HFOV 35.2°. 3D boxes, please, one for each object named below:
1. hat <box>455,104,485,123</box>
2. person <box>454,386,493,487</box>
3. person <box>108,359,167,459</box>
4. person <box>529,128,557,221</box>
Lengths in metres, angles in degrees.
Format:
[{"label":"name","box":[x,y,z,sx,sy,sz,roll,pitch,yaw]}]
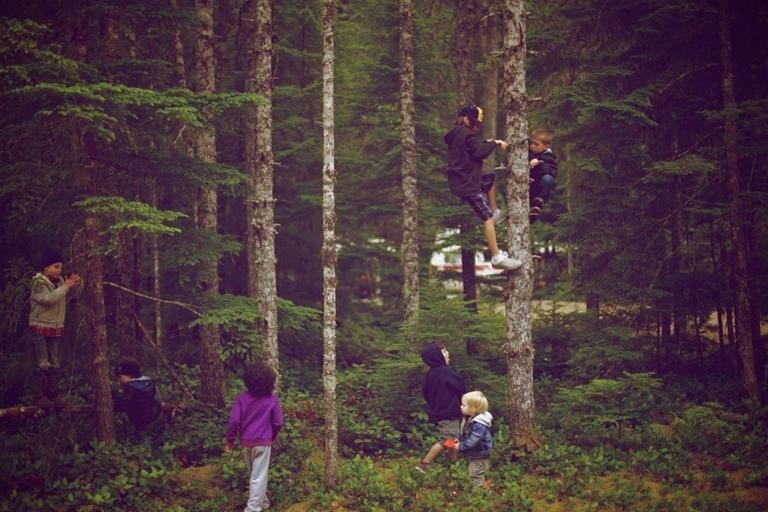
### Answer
[{"label":"hat","box":[2.547,-4.209,35.443,0.818,0.544,0.581,7,22,-7]},{"label":"person","box":[2.571,5.160,34.060,0.849,2.673,0.604,-2,-4,2]},{"label":"person","box":[-7.087,4.370,35.113,1.372,2.775,1.136,-1,-4,-12]},{"label":"person","box":[4.659,-2.412,35.860,0.802,2.684,0.725,-2,-4,9]}]
